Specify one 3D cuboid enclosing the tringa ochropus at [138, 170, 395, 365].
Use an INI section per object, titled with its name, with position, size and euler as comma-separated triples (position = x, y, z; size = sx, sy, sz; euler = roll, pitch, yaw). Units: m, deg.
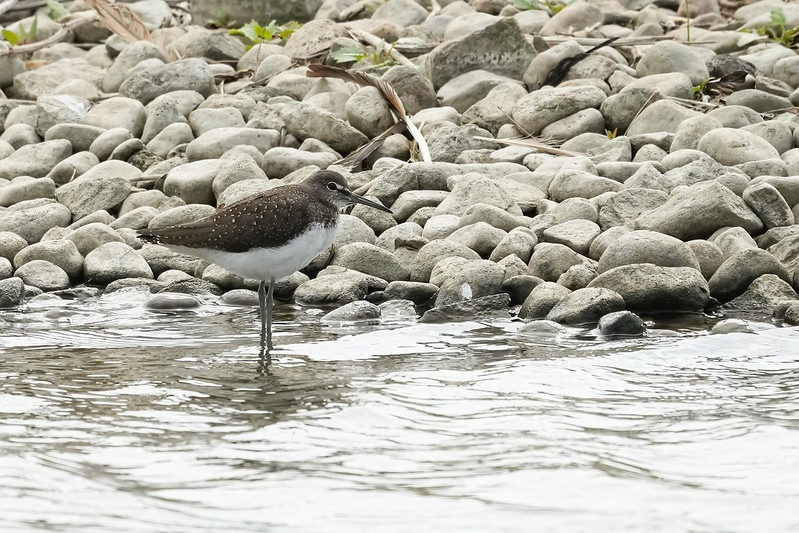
[tringa ochropus]
position = -1.311, 0.072, 8.612
size = 2.820, 1.244, 0.750
euler = 1, 17, -2
